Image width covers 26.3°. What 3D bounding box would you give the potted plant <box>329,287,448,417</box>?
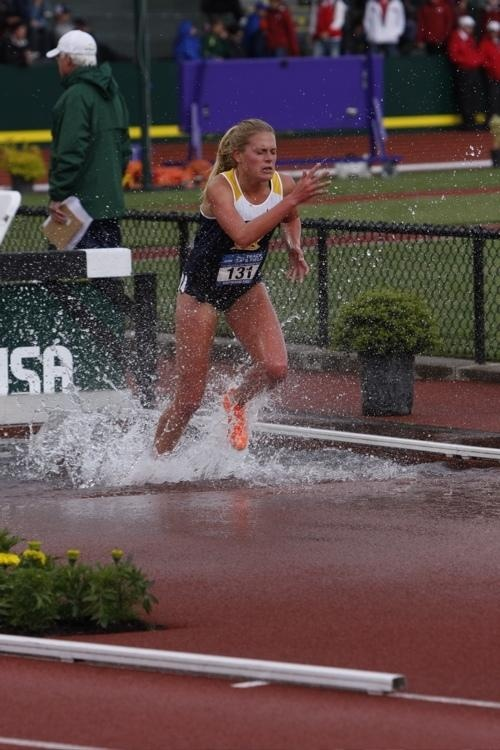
[{"bbox_3d":[0.915,-0.154,7.099,0.786,0.831,0.755,-2,6,0],"label":"potted plant"}]

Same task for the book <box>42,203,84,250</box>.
[{"bbox_3d":[-1.202,-0.970,6.987,0.302,0.307,0.156,-1,6,-6],"label":"book"}]

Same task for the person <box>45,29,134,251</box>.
[{"bbox_3d":[-1.062,-1.514,7.060,0.438,1.606,0.378,-12,18,-7],"label":"person"}]

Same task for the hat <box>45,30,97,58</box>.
[{"bbox_3d":[-1.185,-2.169,7.079,0.300,0.157,0.203,8,18,6],"label":"hat"}]
